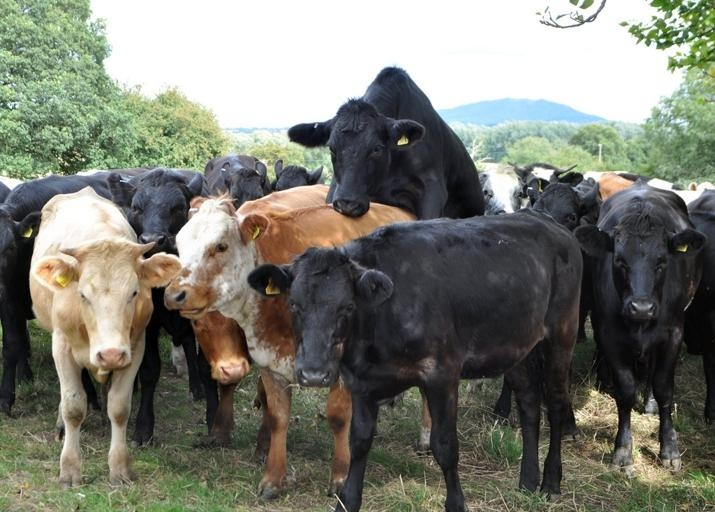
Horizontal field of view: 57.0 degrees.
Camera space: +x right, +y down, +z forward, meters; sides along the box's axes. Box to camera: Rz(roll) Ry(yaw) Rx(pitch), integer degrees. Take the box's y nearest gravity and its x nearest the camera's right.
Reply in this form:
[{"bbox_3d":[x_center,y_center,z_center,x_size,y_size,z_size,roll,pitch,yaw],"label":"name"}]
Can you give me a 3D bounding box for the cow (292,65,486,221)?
[{"bbox_3d":[0.480,-1.529,9.029,1.317,1.800,3.530,-10,-21,20],"label":"cow"}]
